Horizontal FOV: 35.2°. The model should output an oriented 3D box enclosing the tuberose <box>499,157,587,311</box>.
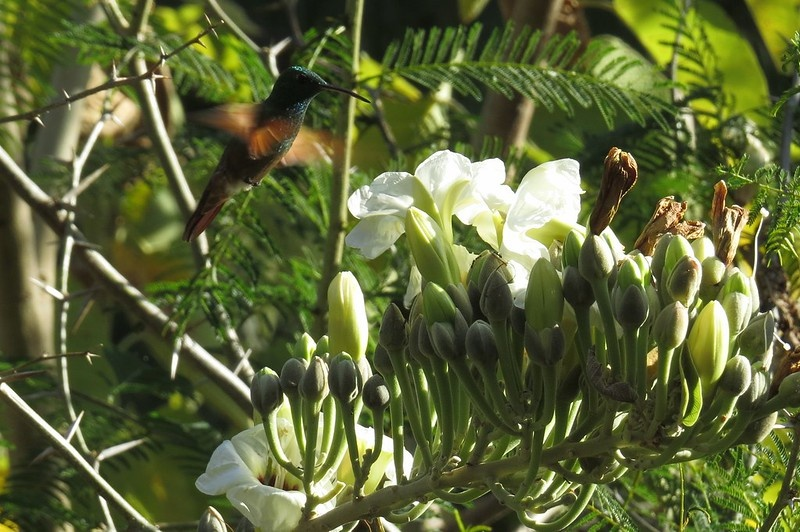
[{"bbox_3d":[0.332,-0.110,2.789,0.170,0.376,0.136,3,-14,26],"label":"tuberose"}]
